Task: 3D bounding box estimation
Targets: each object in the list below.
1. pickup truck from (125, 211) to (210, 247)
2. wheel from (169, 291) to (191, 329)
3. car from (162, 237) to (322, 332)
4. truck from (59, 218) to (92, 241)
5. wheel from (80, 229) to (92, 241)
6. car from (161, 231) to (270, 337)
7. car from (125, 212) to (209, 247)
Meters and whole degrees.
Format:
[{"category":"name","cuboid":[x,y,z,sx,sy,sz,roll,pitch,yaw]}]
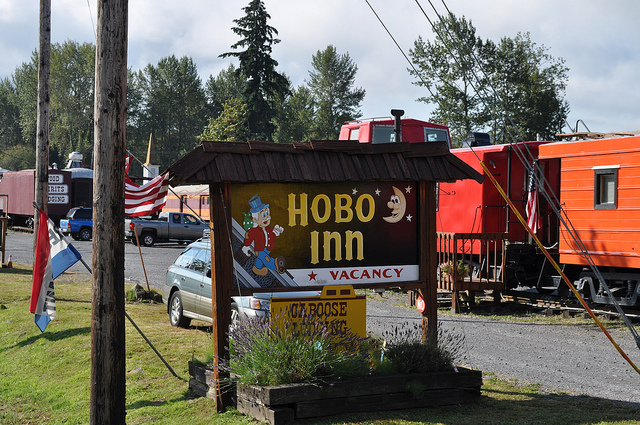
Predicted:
[{"category":"pickup truck","cuboid":[-8.765,1.553,43.395,5.435,2.066,2.047,3,-6,-18]},{"category":"wheel","cuboid":[-4.077,2.901,20.930,0.283,0.871,0.816,6,9,-27]},{"category":"car","cuboid":[-2.542,2.163,20.382,2.132,2.073,4.595,2,-6,-40]},{"category":"truck","cuboid":[-13.673,1.391,40.227,1.989,0.983,1.146,-2,1,-13]},{"category":"wheel","cuboid":[-14.275,1.792,43.431,0.568,0.619,0.206,-2,16,-24]},{"category":"car","cuboid":[-2.606,2.319,20.987,4.405,2.584,2.260,5,0,42]},{"category":"car","cuboid":[-8.759,1.563,43.562,5.358,2.031,2.108,3,-3,-17]}]
